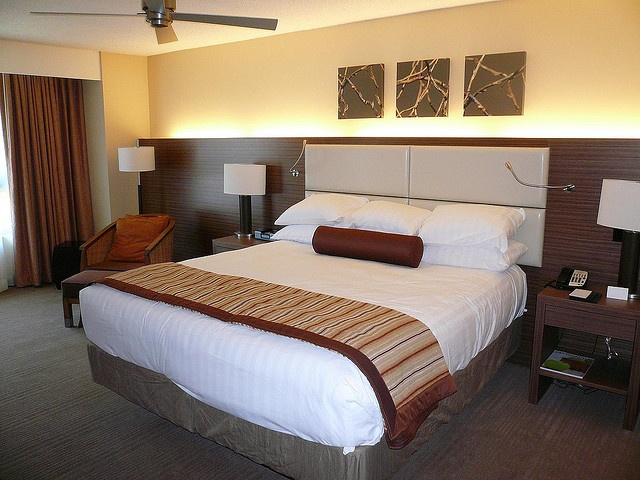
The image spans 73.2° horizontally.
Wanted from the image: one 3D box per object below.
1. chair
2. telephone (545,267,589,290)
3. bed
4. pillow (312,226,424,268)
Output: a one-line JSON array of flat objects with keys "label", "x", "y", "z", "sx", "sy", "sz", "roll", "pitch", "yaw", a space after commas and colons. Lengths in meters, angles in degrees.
[{"label": "chair", "x": -2.381, "y": 0.269, "z": 5.117, "sx": 1.051, "sy": 1.339, "sz": 1.488, "roll": 1, "pitch": 3, "yaw": 7}, {"label": "telephone", "x": 1.923, "y": 0.302, "z": 3.319, "sx": 0.203, "sy": 0.048, "sz": 0.208, "roll": 1, "pitch": 24, "yaw": 36}, {"label": "bed", "x": 0.089, "y": 0.141, "z": 3.362, "sx": 2.509, "sy": 1.680, "sz": 2.774, "roll": 10, "pitch": 17, "yaw": 36}, {"label": "pillow", "x": 0.390, "y": 0.019, "z": 3.581, "sx": 1.024, "sy": 0.322, "sz": 0.327, "roll": 3, "pitch": 5, "yaw": 38}]
